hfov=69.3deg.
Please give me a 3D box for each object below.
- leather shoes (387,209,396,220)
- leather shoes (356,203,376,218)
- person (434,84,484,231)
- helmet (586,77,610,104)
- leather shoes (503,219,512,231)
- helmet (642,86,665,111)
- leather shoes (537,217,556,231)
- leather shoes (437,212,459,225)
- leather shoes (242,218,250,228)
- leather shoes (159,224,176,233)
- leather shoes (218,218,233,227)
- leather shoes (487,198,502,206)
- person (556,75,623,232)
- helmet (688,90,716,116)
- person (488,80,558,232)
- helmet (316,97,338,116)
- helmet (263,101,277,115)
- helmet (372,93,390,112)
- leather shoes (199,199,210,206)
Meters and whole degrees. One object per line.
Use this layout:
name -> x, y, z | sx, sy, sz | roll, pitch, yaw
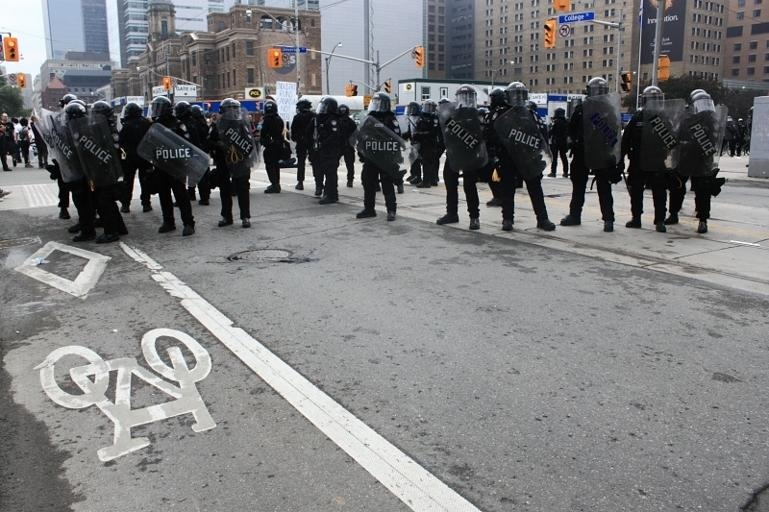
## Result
leather shoes -> 0.139, -0.826, 10.907 | 0.210, 0.223, 0.543 | 0, 2, 5
leather shoes -> -0.428, -0.899, 11.253 | 0.451, 0.286, 0.176 | 4, 13, -7
person -> 1.416, -1.801, 10.118 | 0.873, 2.516, 0.883 | -1, 15, 0
helmet -> 3.801, -2.918, 9.830 | 0.478, 0.449, 0.401 | -1, 14, 5
leather shoes -> 2.199, -0.566, 9.929 | 0.219, 0.203, 0.498 | 0, 1, 12
helmet -> 4.680, -2.746, 9.713 | 0.392, 0.423, 0.414 | -2, 9, -3
leather shoes -> 2.942, -0.566, 9.929 | 0.154, 0.186, 0.393 | -7, 7, -33
leather shoes -> 1.213, -0.726, 10.629 | 0.489, 0.197, 0.176 | 0, 11, -6
leather shoes -> -2.602, -0.630, 10.391 | 0.171, 0.203, 0.500 | -3, 2, -15
leather shoes -> -3.989, -0.504, 10.107 | 0.324, 0.131, 0.134 | 4, 16, 14
leather shoes -> -3.053, -0.651, 10.560 | 0.297, 0.118, 0.131 | 5, 13, 21
leather shoes -> 2.514, -1.247, 12.822 | 0.135, 0.162, 0.374 | -10, 14, -34
person -> 3.772, -1.846, 10.002 | 0.988, 2.614, 0.884 | 8, 17, 29
helmet -> 5.436, -2.631, 9.471 | 0.400, 0.389, 0.440 | 8, 17, 31
person -> 2.444, -1.774, 9.992 | 1.151, 2.674, 0.798 | -5, 2, 13
helmet -> -1.328, -3.436, 12.741 | 0.482, 0.372, 0.342 | -1, 16, -5
helmet -> -3.037, -3.955, 14.769 | 0.296, 0.344, 0.360 | -18, 53, 1
helmet -> -0.098, -3.135, 11.401 | 0.331, 0.347, 0.439 | 5, 7, 14
leather shoes -> -4.357, -1.305, 13.334 | 0.238, 0.219, 0.141 | 11, 6, 10
